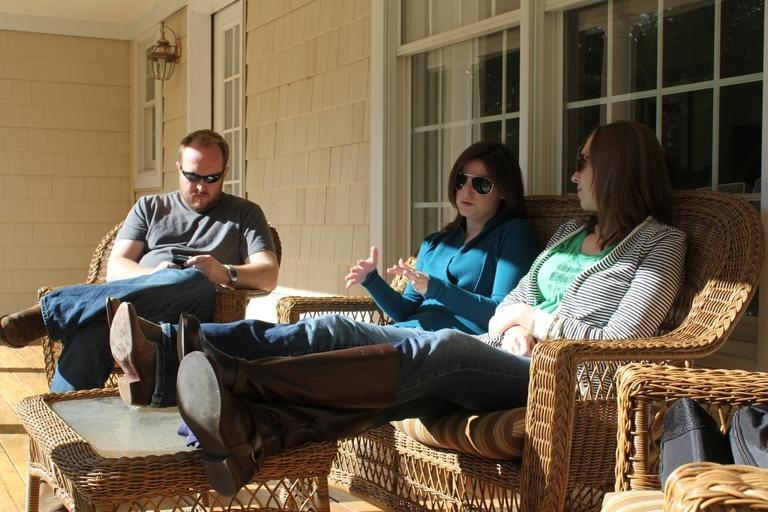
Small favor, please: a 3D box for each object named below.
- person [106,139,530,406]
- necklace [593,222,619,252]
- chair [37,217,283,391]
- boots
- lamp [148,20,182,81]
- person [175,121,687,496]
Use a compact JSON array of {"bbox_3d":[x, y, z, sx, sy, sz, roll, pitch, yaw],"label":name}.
[{"bbox_3d":[-0.103,0.053,2.606,1.795,1.069,0.733,-3,8,-43],"label":"person"},{"bbox_3d":[0.897,-0.073,2.568,0.099,0.090,0.079,-8,16,-16],"label":"necklace"},{"bbox_3d":[-1.230,0.231,3.786,0.981,1.146,1.045,1,-8,7],"label":"chair"},{"bbox_3d":[-0.322,0.404,2.032,0.601,0.403,0.476,-7,39,-33],"label":"boots"},{"bbox_3d":[-2.501,-2.352,7.182,0.349,0.697,0.687,-6,8,-21],"label":"lamp"},{"bbox_3d":[0.232,0.085,2.418,1.898,1.242,0.720,0,0,-22],"label":"person"}]
